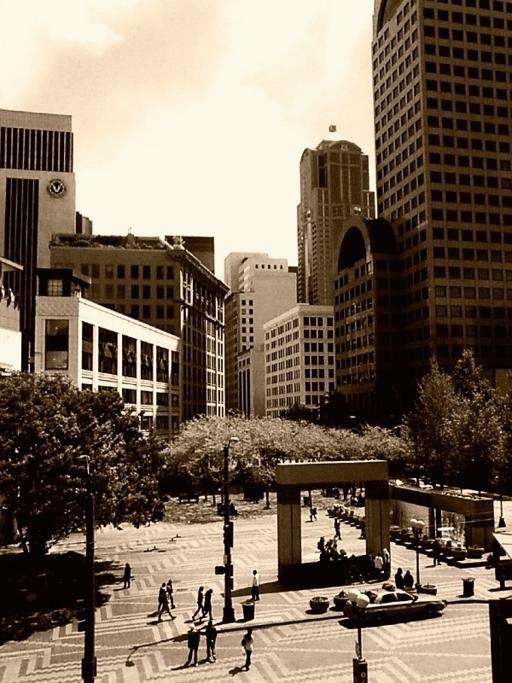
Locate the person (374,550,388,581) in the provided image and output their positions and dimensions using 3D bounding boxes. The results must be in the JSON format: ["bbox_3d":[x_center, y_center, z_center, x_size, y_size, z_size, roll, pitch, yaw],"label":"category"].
[{"bbox_3d":[6.537,11.684,46.180,0.787,1.372,1.217,-4,-9,26],"label":"person"}]

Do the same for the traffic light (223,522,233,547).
[{"bbox_3d":[-1.310,8.905,40.871,0.327,1.109,0.607,1,-8,-7],"label":"traffic light"}]

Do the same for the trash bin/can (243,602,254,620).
[{"bbox_3d":[-0.334,12.155,39.932,0.474,0.808,0.607,0,-7,-3],"label":"trash bin/can"}]

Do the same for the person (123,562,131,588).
[{"bbox_3d":[-6.750,12.240,46.361,0.392,1.289,2.351,1,-10,-8],"label":"person"}]

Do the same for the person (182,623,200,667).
[{"bbox_3d":[-2.552,12.214,35.457,0.508,1.353,1.442,0,-9,-1],"label":"person"}]

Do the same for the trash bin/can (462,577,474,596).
[{"bbox_3d":[10.283,11.837,42.772,0.520,1.093,0.705,0,2,6],"label":"trash bin/can"}]

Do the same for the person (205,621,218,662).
[{"bbox_3d":[-1.825,12.007,35.360,0.372,1.789,0.403,2,20,2],"label":"person"}]

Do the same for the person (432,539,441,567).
[{"bbox_3d":[10.429,12.139,51.005,0.428,1.287,2.798,-2,-10,12],"label":"person"}]
